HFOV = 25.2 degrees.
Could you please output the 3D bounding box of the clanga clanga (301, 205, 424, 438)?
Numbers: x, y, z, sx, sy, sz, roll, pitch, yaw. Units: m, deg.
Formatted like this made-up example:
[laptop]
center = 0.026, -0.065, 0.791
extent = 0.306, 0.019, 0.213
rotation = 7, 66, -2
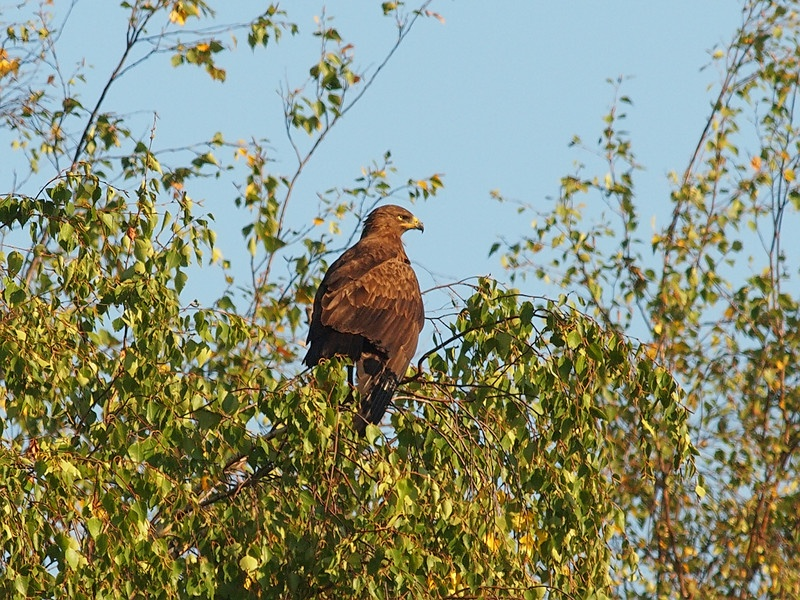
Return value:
[clanga clanga]
center = -0.301, 0.117, 14.245
extent = 0.827, 2.335, 1.128
rotation = 3, -34, 4
